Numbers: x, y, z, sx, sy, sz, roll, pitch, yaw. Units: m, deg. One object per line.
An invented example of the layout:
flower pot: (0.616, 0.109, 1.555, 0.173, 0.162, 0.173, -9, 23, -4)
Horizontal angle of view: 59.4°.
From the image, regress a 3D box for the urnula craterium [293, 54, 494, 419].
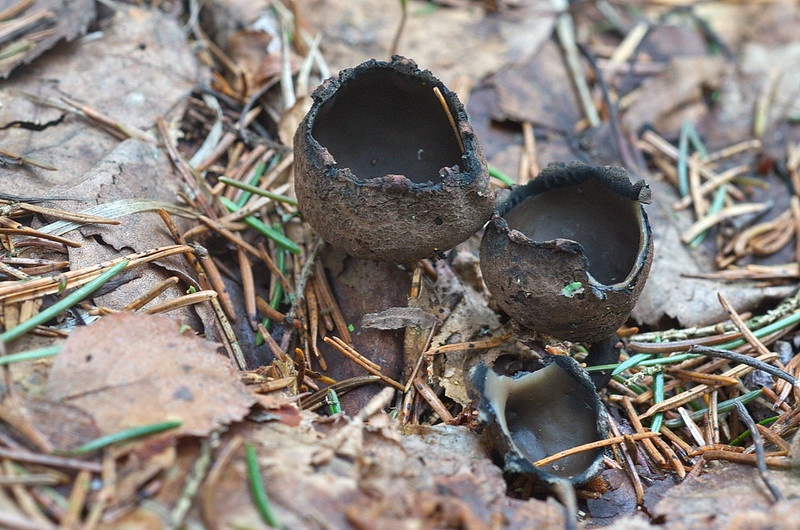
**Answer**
urnula craterium: (-0.014, -0.204, 3.224, 0.970, 0.589, 1.605, 1, 57, 2)

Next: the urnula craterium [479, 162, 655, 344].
urnula craterium: (0.826, -0.031, 3.416, 0.790, 0.623, 0.798, -27, 41, -15)

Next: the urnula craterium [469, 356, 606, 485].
urnula craterium: (0.627, 0.686, 3.094, 0.570, 0.393, 0.563, -9, 73, -2)
